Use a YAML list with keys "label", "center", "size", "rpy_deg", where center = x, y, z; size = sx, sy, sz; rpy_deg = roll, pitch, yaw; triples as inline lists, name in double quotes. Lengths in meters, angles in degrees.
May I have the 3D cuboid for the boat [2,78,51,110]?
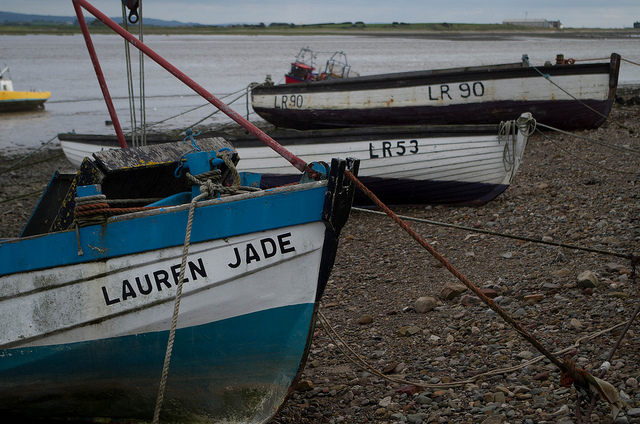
- label: "boat"
  center: [-11.723, -4.538, 32.453]
  size: [0.897, 0.697, 2.702]
  rpy_deg: [10, 16, 33]
